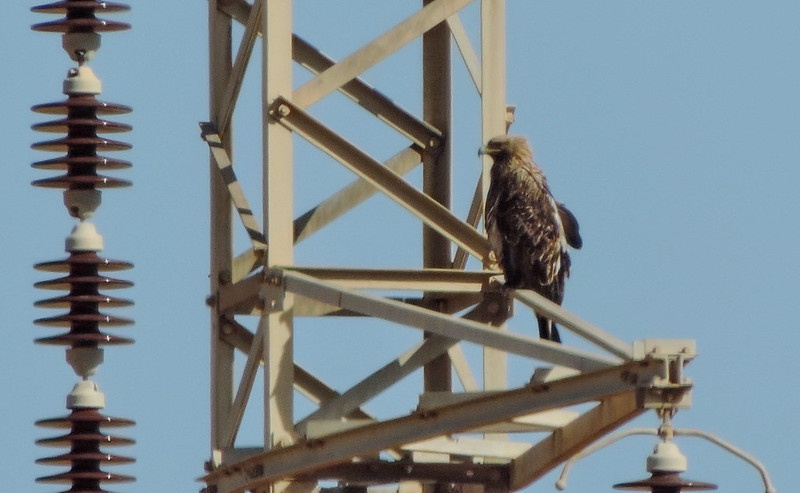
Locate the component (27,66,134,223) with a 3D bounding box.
[{"bbox_3d":[-3.859,-1.364,33.986,1.146,1.635,1.139,-34,-52,29],"label":"component"}]

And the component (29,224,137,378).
[{"bbox_3d":[-3.833,0.581,33.769,1.223,1.582,1.212,3,-43,-6],"label":"component"}]
